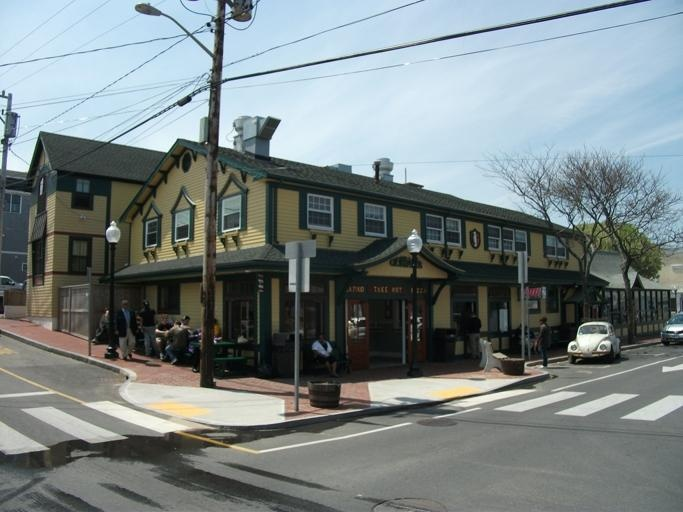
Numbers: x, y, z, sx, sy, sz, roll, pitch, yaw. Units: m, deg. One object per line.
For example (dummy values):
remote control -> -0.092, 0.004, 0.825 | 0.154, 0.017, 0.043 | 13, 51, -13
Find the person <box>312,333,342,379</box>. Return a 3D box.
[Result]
person -> -0.576, 3.337, 23.597 | 0.870, 1.465, 1.402 | 0, 3, -1

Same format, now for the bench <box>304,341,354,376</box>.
bench -> -0.523, 3.318, 23.380 | 0.644, 1.500, 1.063 | 4, -11, -33

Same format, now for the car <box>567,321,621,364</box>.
car -> 10.286, 3.426, 27.935 | 1.300, 1.113, 2.459 | -9, -25, 24

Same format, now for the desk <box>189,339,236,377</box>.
desk -> -4.186, 3.349, 23.058 | 1.238, 0.890, 1.315 | 8, -14, -42

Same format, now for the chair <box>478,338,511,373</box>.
chair -> 5.410, 3.570, 24.736 | 0.807, 1.288, 1.768 | 1, 3, 11
